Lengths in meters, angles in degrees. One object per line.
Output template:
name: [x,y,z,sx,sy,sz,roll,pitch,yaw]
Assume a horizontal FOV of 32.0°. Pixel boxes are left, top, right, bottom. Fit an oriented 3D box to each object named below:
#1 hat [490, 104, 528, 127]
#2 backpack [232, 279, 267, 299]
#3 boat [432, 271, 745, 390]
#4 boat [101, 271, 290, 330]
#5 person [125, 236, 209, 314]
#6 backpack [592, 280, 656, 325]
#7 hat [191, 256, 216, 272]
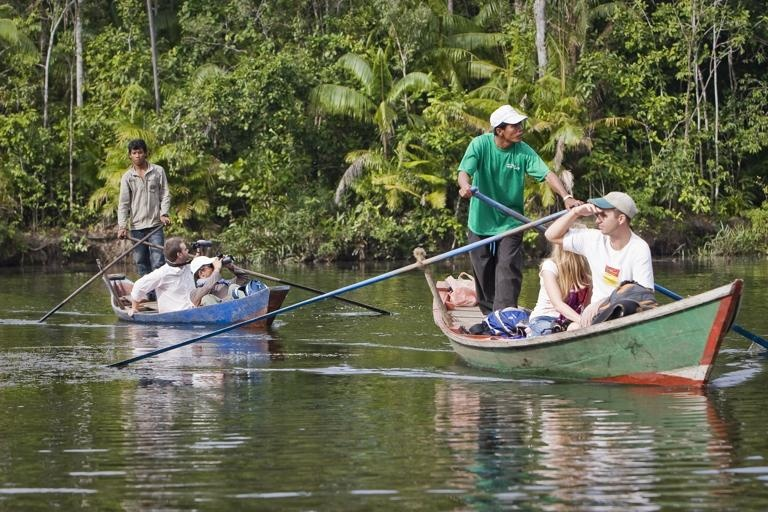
hat: [1.800,-2.043,19.696,0.436,0.349,0.325,-2,1,-15]
backpack: [-2.213,0.542,21.912,0.512,0.313,0.308,11,-3,12]
boat: [2.514,1.056,18.571,4.436,1.155,1.493,-1,6,39]
boat: [-3.263,0.822,22.412,4.000,0.839,1.133,-2,-3,23]
person: [-3.606,0.345,22.391,0.613,0.777,1.378,4,-24,-5]
backpack: [3.194,0.531,17.885,0.689,0.260,0.580,-36,25,-34]
hat: [-3.072,0.110,22.550,0.412,0.194,0.263,-23,5,9]
